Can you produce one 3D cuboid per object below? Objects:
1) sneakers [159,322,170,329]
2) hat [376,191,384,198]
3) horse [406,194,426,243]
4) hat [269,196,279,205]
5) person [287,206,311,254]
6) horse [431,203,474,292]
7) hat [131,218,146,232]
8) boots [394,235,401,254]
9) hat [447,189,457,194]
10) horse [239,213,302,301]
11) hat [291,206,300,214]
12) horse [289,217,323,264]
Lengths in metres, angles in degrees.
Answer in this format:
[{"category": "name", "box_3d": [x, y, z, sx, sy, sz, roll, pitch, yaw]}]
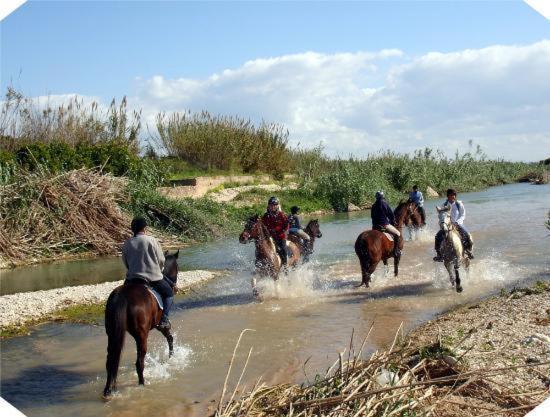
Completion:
[{"category": "sneakers", "box_3d": [-2.165, 2.301, 9.436, 0.153, 0.094, 0.126, 3, -6, 17]}, {"category": "hat", "box_3d": [3.093, -0.421, 14.059, 0.214, 0.227, 0.350, -1, 9, 7]}, {"category": "horse", "box_3d": [6.555, 0.541, 21.956, 0.540, 2.029, 2.485, 6, 6, 37]}, {"category": "hat", "box_3d": [-0.041, -0.250, 13.408, 0.207, 0.240, 0.250, 0, -9, -2]}, {"category": "person", "box_3d": [0.612, 0.492, 15.771, 0.237, 0.750, 1.139, -17, -20, -24]}, {"category": "horse", "box_3d": [4.990, 1.033, 13.420, 0.851, 2.309, 1.624, 1, 9, 22]}, {"category": "hat", "box_3d": [-2.661, 0.298, 9.243, 0.233, 0.318, 0.315, 2, 3, -2]}, {"category": "boots", "box_3d": [3.639, 1.076, 14.278, 0.101, 0.517, 0.265, 8, 13, 25]}, {"category": "hat", "box_3d": [5.089, -0.490, 13.787, 0.154, 0.174, 0.214, 2, -11, 11]}, {"category": "horse", "box_3d": [-0.047, 1.410, 13.808, 0.842, 2.437, 3.376, 0, -5, 27]}, {"category": "hat", "box_3d": [0.674, 0.038, 15.725, 0.191, 0.263, 0.255, 0, -7, -1]}, {"category": "horse", "box_3d": [1.065, 1.058, 16.274, 0.448, 1.245, 1.542, -1, -2, -36]}]
